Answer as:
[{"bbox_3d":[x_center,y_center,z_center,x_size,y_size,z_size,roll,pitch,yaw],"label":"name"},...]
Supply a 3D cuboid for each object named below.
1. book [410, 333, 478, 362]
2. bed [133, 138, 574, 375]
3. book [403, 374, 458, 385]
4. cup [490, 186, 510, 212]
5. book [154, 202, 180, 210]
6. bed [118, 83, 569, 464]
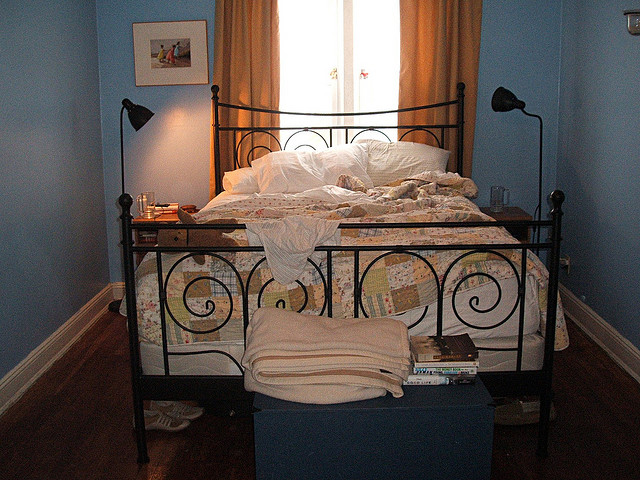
[{"bbox_3d":[0.456,0.394,2.128,0.327,0.061,0.269,2,12,4],"label":"book"},{"bbox_3d":[0.142,0.344,3.203,1.709,0.771,1.755,-1,12,-1],"label":"bed"},{"bbox_3d":[0.402,0.508,1.966,0.198,0.040,0.008,-1,12,-2],"label":"book"},{"bbox_3d":[1.246,-0.292,3.776,0.192,0.204,0.117,0,4,-4],"label":"cup"},{"bbox_3d":[-1.115,-0.242,3.875,0.146,0.035,0.150,0,10,-4],"label":"book"},{"bbox_3d":[0.101,0.042,3.520,2.067,1.733,2.646,0,11,1],"label":"bed"}]
